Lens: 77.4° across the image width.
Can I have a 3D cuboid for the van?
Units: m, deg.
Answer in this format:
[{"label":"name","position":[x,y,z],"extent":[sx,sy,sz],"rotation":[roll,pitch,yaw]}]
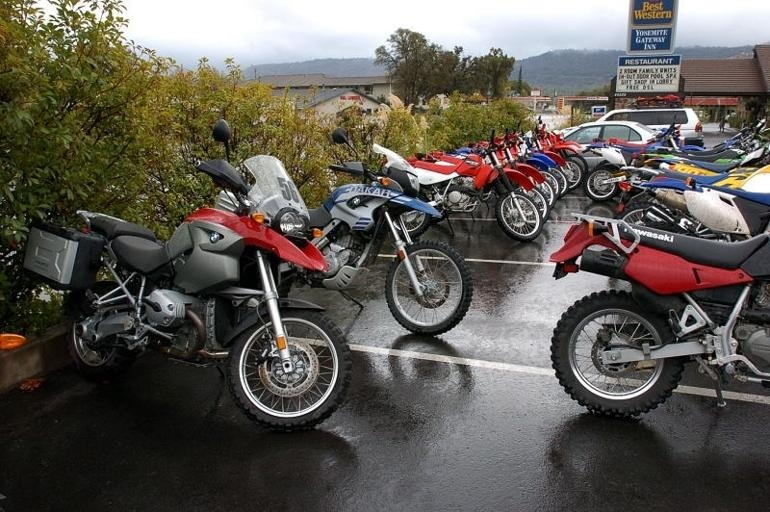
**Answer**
[{"label":"van","position":[10.688,-5.380,18.747],"extent":[3.955,1.671,2.310],"rotation":[3,17,11]}]
